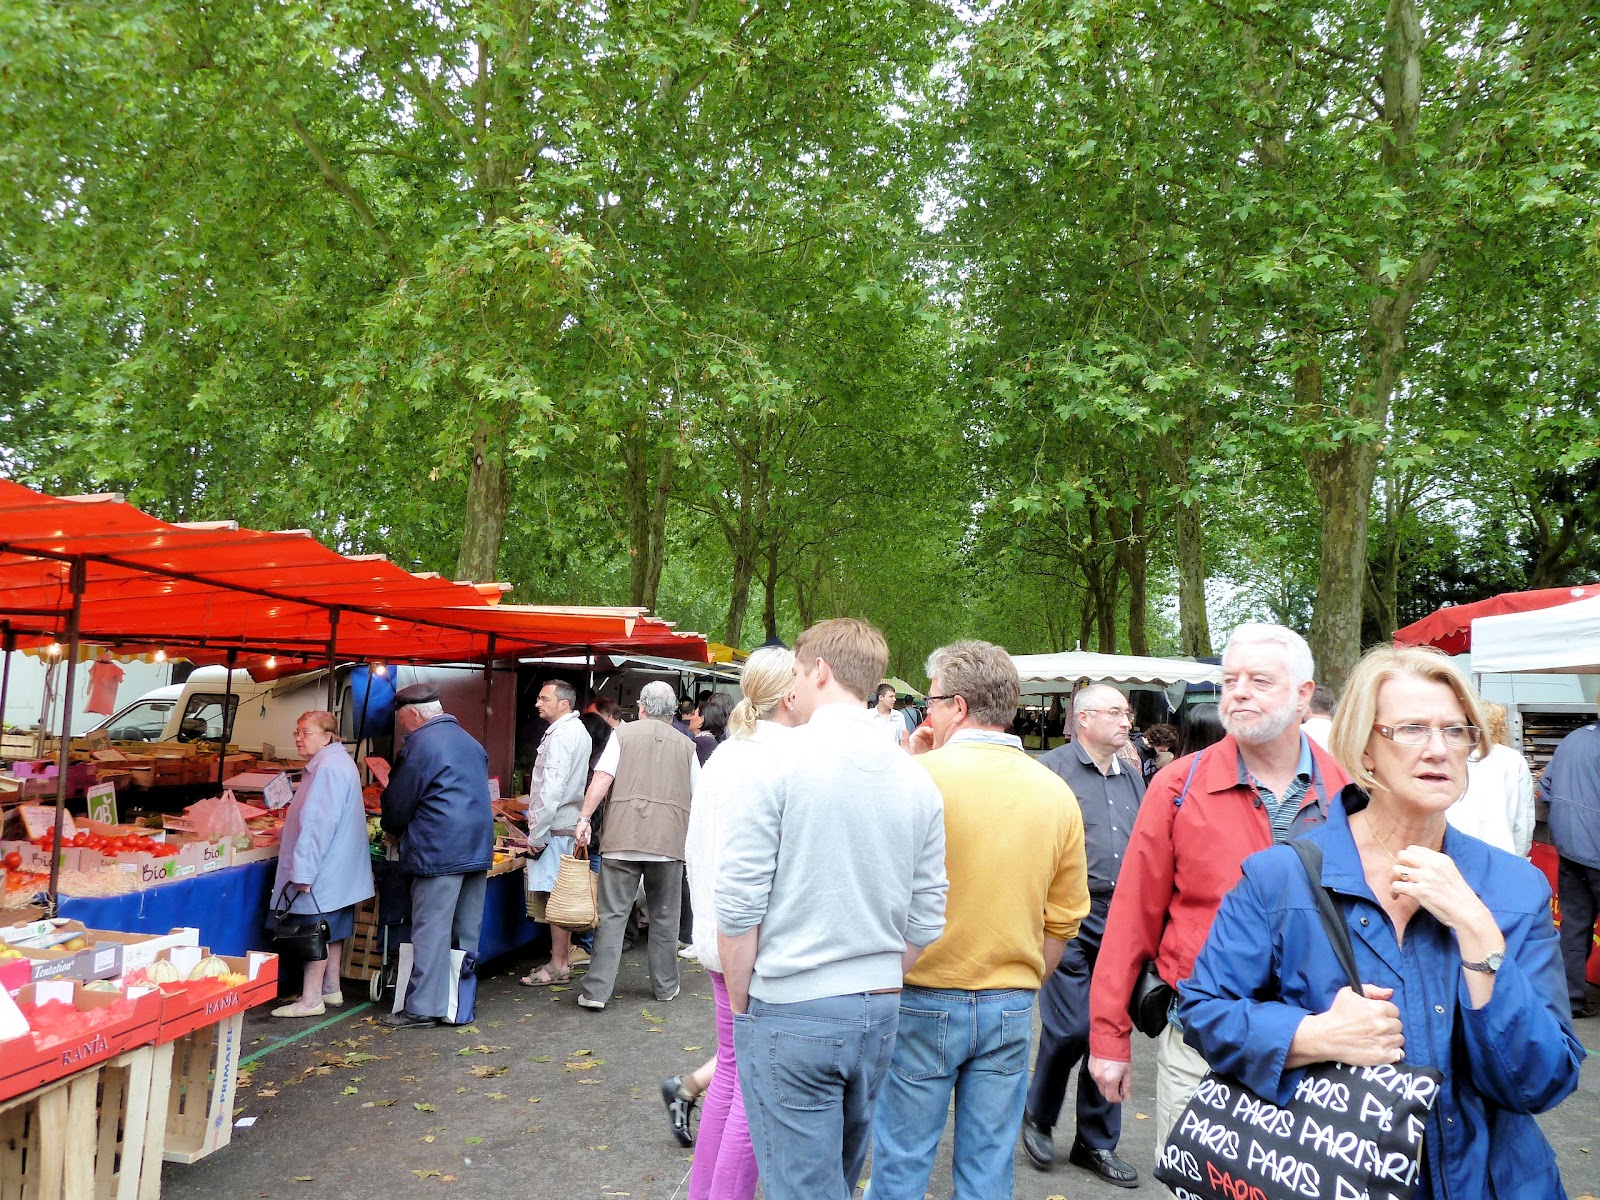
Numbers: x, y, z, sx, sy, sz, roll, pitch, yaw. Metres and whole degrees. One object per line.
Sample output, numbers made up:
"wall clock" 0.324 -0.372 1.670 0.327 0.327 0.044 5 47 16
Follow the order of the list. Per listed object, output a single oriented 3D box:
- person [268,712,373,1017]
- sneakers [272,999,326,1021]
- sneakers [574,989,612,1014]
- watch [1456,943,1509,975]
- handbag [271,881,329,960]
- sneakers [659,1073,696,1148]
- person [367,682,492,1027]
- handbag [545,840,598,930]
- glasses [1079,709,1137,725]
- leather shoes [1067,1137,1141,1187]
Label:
"person" -3.310 1.845 8.840 0.659 2.125 0.467 -1 5 -29
"sneakers" -3.465 2.835 8.864 0.378 0.155 0.144 3 -11 1
"sneakers" -1.521 2.919 9.280 0.228 0.140 0.239 1 4 -9
"watch" 2.112 1.108 3.942 0.080 0.049 0.080 1 -7 -35
"handbag" -3.419 2.186 8.693 0.376 0.511 0.180 4 1 0
"sneakers" -0.656 2.760 7.046 0.193 0.454 0.150 -13 2 4
"person" -2.542 1.774 8.905 0.721 2.247 0.575 0 5 -18
"handbag" -1.659 2.146 9.281 0.372 0.618 0.412 1 4 -12
"glasses" 1.660 0.657 7.008 0.153 0.096 0.137 -8 -10 27
"leather shoes" 1.589 2.977 6.743 0.139 0.126 0.312 9 -11 -38
